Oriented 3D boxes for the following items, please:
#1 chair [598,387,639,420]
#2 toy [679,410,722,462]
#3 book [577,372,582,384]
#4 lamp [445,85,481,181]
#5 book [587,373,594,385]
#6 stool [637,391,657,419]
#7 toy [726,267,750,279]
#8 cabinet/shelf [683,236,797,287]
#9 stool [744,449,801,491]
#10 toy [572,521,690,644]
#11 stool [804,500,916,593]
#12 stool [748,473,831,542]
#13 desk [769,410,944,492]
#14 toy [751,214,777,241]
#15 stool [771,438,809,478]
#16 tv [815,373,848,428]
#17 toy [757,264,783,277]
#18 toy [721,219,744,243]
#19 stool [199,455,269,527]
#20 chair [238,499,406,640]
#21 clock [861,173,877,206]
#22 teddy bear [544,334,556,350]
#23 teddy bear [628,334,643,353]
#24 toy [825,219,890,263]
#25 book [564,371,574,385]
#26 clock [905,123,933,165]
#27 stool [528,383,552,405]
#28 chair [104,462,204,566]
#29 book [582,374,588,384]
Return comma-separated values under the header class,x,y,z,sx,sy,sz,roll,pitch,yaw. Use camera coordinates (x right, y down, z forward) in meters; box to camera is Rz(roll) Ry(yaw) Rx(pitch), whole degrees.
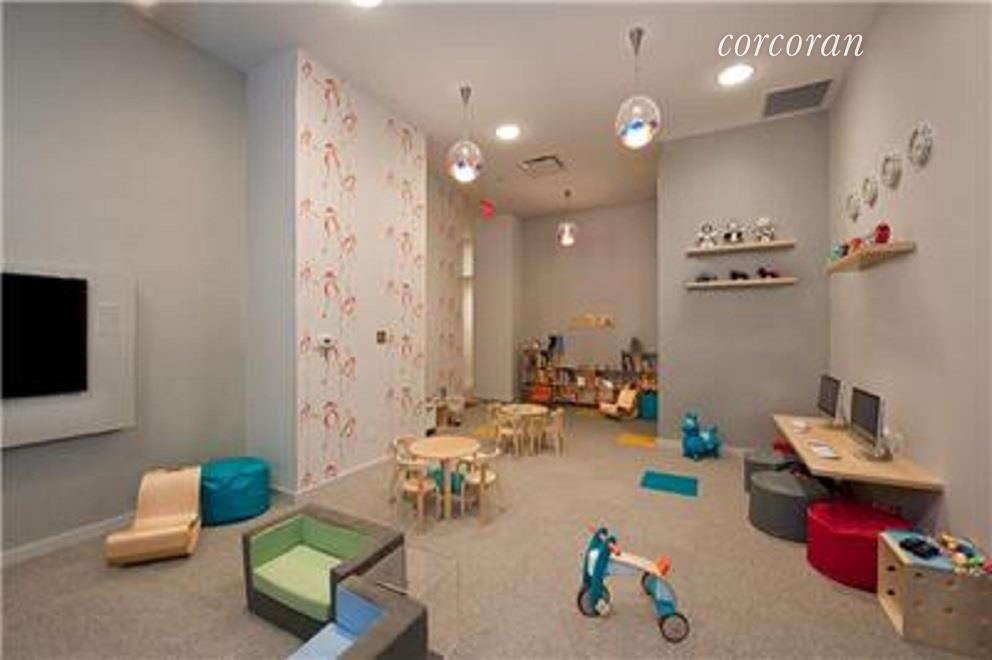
class,x,y,z,sx,sy,sz,roll,pitch,yaw
chair,1.940,1.192,10.266,0.502,0.437,0.521,-4,3,-26
toy,2.565,1.338,8.085,0.457,0.553,0.388,0,0,18
book,1.427,0.867,11.187,0.105,0.196,0.152,1,-2,17
lamp,-0.347,-2.062,6.745,0.402,0.938,0.408,9,11,44
book,1.609,0.892,11.088,0.138,0.166,0.118,2,3,32
stool,2.449,1.221,10.317,0.354,0.396,0.367,0,-1,19
toy,2.998,-0.709,8.006,0.286,0.150,0.099,5,5,26
cabinet/shelf,3.010,-0.815,7.975,1.310,0.584,0.264,0,0,18
stool,3.018,1.503,7.068,0.457,0.302,0.468,1,-4,-17
toy,1.126,2.146,5.598,0.837,0.703,0.879,-1,-4,4
stool,3.302,1.958,6.044,0.778,0.588,0.800,2,15,-2
stool,2.898,1.729,6.396,0.607,0.449,0.602,-2,4,-36
desk,3.440,1.330,6.367,1.043,0.679,1.501,0,0,6
toy,3.259,-1.243,7.826,0.265,0.343,0.203,0,0,21
stool,3.297,1.441,7.206,0.283,0.355,0.277,-5,3,12
tv,3.634,0.769,6.897,0.183,0.527,0.575,3,4,11
toy,3.306,-0.703,7.819,0.327,0.170,0.113,4,9,34
toy,2.933,-1.228,7.986,0.300,0.309,0.194,-1,-1,37
stool,-2.804,1.659,6.746,0.731,0.568,0.762,2,10,17
chair,-1.551,2.127,5.570,1.101,0.752,0.848,10,12,19
clock,3.770,-1.417,6.498,0.053,0.319,0.253,0,0,8
teddy bear,0.971,0.225,11.493,0.216,0.324,0.249,4,0,-4
teddy bear,2.326,0.232,10.826,0.228,0.261,0.201,0,0,15
toy,3.640,-0.896,6.422,0.383,0.327,0.937,0,0,14
book,1.256,0.864,11.328,0.195,0.192,0.049,3,-13,3
clock,3.819,-1.668,5.792,0.070,0.373,0.257,0,0,-3
stool,0.735,1.121,11.116,0.303,0.283,0.329,-1,-10,-1
chair,-3.218,1.780,6.137,0.655,0.729,1.028,-4,5,-8
book,1.525,0.871,11.137,0.139,0.145,0.104,1,4,29
